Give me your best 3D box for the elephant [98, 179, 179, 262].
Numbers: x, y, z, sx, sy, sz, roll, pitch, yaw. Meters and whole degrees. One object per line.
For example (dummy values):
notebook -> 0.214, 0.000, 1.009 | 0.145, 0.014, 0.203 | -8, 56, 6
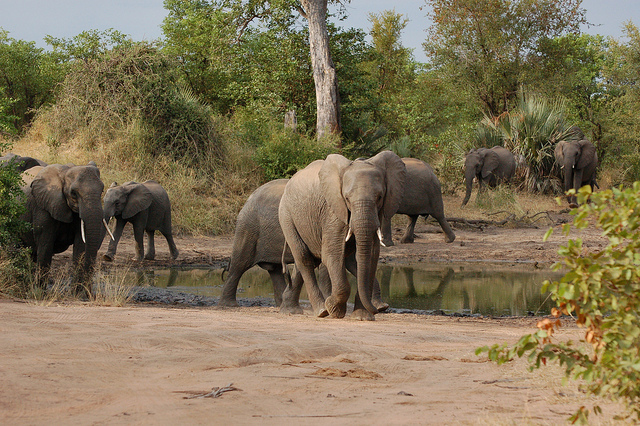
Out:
elephant -> -5.632, 0.283, 25.865 | 1.430, 2.549, 3.202 | 2, 1, 36

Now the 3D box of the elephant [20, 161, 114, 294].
elephant -> -6.696, 0.541, 21.897 | 1.832, 3.547, 4.154 | 0, 3, -45

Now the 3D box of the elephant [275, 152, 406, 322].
elephant -> 0.497, 0.598, 19.780 | 1.878, 3.898, 4.313 | -1, 5, -31

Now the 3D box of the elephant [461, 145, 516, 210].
elephant -> 6.794, -1.461, 34.292 | 3.632, 2.239, 1.599 | -5, 7, -40

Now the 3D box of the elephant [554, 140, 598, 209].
elephant -> 10.210, -1.911, 33.797 | 1.766, 1.907, 0.925 | -8, 14, -34

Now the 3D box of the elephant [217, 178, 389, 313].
elephant -> -0.232, 0.788, 20.147 | 5.326, 3.396, 2.364 | -1, -4, 40
